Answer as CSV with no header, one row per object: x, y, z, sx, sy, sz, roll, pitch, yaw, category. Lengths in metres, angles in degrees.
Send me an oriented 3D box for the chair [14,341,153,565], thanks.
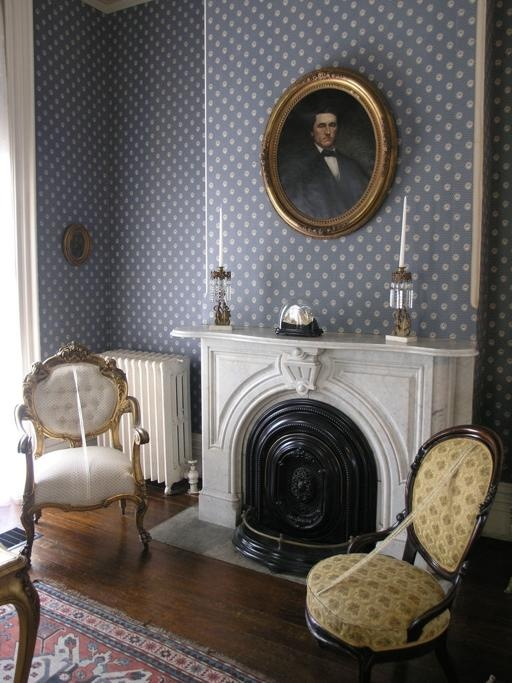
-0.883,0.534,2.902,0.613,0.996,0.579,-3,7,-24,chair

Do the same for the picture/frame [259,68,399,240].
0.381,-0.932,2.788,0.861,0.944,0.105,6,14,32,picture/frame

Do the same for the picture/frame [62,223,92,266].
-1.229,-0.668,3.888,0.033,0.293,0.291,0,-7,19,picture/frame
